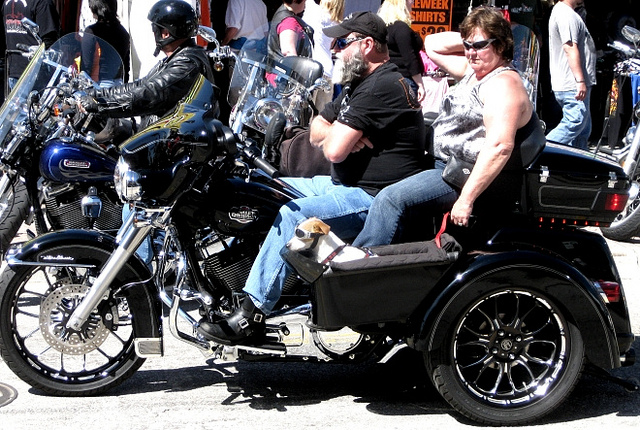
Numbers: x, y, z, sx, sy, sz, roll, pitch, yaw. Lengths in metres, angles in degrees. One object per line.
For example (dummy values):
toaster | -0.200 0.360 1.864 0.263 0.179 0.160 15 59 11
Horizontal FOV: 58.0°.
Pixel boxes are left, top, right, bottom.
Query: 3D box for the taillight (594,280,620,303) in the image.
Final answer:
taillight | 1.896 0.487 3.876 0.190 0.170 0.140 3 -6 1

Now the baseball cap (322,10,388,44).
baseball cap | 0.246 -1.334 4.042 0.461 0.205 0.235 11 14 14

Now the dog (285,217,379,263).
dog | 0.126 0.229 3.679 0.652 0.393 0.210 6 9 -20

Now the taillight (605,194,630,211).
taillight | 1.968 -0.086 3.857 0.224 0.115 0.051 -4 17 -36

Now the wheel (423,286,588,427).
wheel | 1.197 0.892 3.755 0.897 0.904 0.298 2 0 -4
